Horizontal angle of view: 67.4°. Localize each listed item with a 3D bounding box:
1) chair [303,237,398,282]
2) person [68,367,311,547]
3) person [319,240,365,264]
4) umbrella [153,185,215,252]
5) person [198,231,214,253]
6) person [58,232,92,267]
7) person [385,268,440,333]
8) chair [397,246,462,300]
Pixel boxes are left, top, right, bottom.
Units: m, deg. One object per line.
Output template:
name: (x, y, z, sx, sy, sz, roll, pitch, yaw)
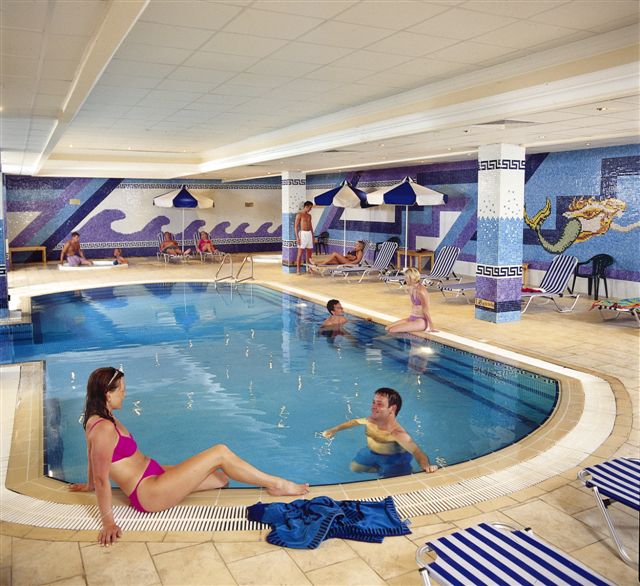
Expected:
chair: (1.249, -0.964, 14.417, 2.447, 0.939, 1.469, 0, 3, -13)
person: (-0.879, 1.016, 3.292, 1.865, 0.858, 1.085, 7, -11, -27)
person: (0.937, -1.330, 15.573, 1.761, 0.837, 0.663, 1, 25, 15)
umbrella: (-5.531, -3.182, 19.944, 2.627, 2.393, 3.538, -3, 7, -26)
person: (-4.634, -2.102, 19.467, 0.808, 1.029, 0.523, -2, -3, 10)
person: (-9.299, -1.694, 18.155, 0.956, 1.314, 2.179, -4, 7, -28)
person: (1.586, 0.138, 8.390, 0.738, 1.141, 0.552, -2, 7, -16)
chair: (3.236, -0.645, 12.256, 2.098, 1.140, 1.187, -6, 12, -28)
